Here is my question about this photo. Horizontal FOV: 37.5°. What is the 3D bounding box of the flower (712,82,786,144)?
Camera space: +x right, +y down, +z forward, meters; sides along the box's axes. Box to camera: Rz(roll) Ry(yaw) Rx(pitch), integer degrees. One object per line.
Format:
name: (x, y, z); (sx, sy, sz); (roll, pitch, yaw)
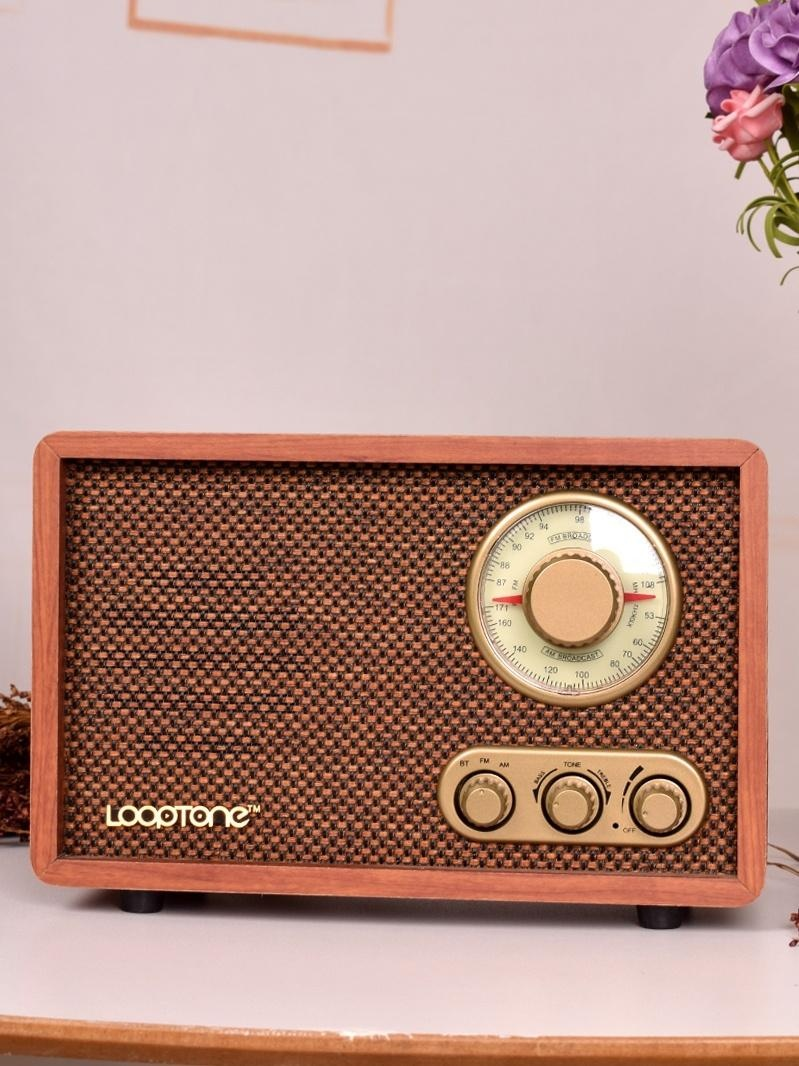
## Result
flower: (0.271, -0.322, 0.913); (0.046, 0.040, 0.033); (-32, -43, 33)
